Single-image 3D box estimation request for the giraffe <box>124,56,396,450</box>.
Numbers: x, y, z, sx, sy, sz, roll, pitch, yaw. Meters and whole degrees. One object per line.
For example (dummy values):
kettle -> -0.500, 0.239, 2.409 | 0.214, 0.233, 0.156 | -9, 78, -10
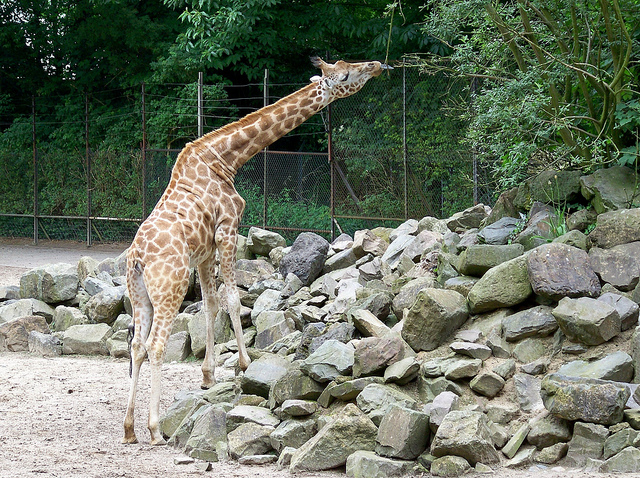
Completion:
giraffe -> -1.246, 0.048, 11.904 | 2.711, 4.696, 1.052 | 0, -2, -35
